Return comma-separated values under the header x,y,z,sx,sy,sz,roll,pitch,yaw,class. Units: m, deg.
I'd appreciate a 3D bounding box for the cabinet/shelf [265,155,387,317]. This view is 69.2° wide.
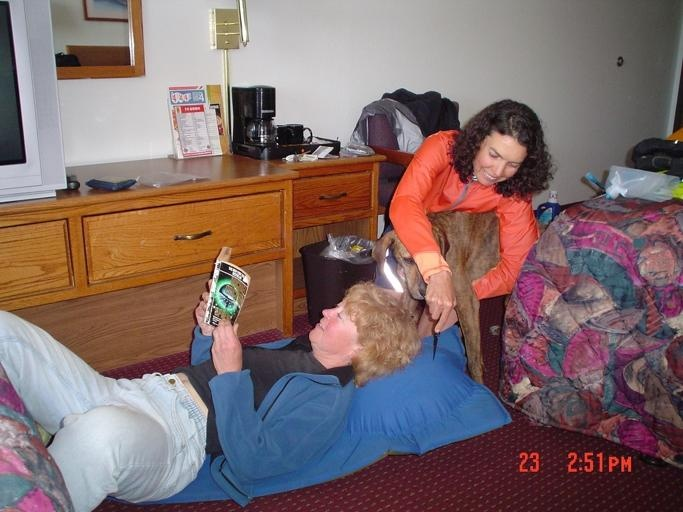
x,y,z,sx,sy,sz,roll,pitch,yaw,class
-0.088,-0.109,2.458,0.599,0.774,0.488,-18,33,-30,cabinet/shelf

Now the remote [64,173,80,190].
x,y,z,sx,sy,sz,roll,pitch,yaw,class
-1.081,-0.297,1.987,0.058,0.055,0.058,-13,16,-38,remote

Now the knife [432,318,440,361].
x,y,z,sx,sy,sz,roll,pitch,yaw,class
0.376,0.338,1.992,0.027,0.161,0.014,-7,6,-42,knife

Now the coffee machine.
x,y,z,sx,sy,sz,roll,pitch,yaw,class
-0.462,-0.725,2.643,0.451,0.438,0.290,25,33,38,coffee machine

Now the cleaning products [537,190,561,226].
x,y,z,sx,sy,sz,roll,pitch,yaw,class
1.301,-0.296,3.137,0.113,0.251,0.065,15,42,12,cleaning products

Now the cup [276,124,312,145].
x,y,z,sx,sy,sz,roll,pitch,yaw,class
-0.246,-0.667,2.695,0.206,0.098,0.118,-5,17,-17,cup

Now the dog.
x,y,z,sx,sy,sz,roll,pitch,yaw,class
0.608,0.158,2.534,0.415,0.960,1.471,-2,10,37,dog

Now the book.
x,y,z,sx,sy,sz,roll,pitch,yaw,class
-0.388,0.098,1.652,0.061,0.256,0.147,15,4,41,book
